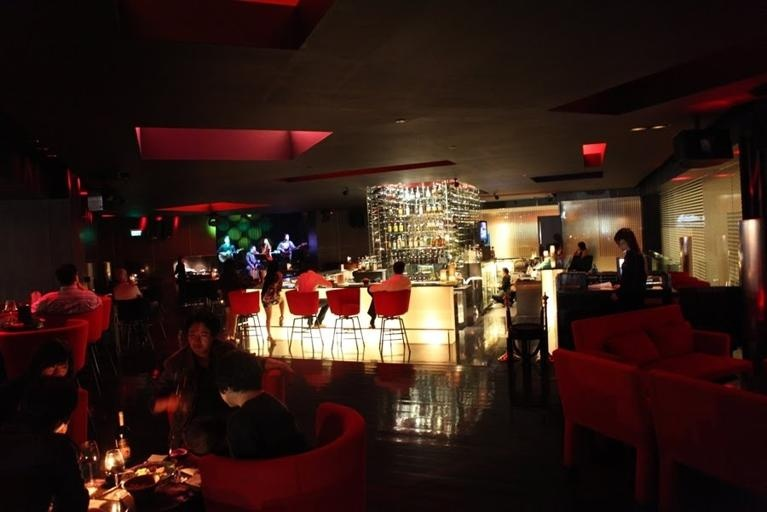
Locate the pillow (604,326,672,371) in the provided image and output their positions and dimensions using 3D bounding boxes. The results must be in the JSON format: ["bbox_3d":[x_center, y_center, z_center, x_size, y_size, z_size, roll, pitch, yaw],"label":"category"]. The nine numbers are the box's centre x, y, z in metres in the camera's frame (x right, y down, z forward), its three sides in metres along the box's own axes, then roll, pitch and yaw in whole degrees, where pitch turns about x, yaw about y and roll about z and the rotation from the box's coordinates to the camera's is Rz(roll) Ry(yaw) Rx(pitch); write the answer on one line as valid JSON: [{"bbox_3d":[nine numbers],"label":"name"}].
[{"bbox_3d":[2.880,1.088,6.325,0.707,0.408,0.189,-4,-25,-34],"label":"pillow"}]

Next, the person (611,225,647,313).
[{"bbox_3d":[3.563,0.187,7.883,0.427,1.180,0.388,0,-2,15],"label":"person"}]

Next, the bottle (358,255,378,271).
[{"bbox_3d":[-0.264,0.187,12.847,0.386,0.389,0.389,-4,6,-36],"label":"bottle"}]

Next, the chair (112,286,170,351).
[{"bbox_3d":[-4.981,1.328,11.268,0.826,1.231,0.904,-5,25,-9],"label":"chair"}]

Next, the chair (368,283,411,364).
[{"bbox_3d":[0.174,1.144,9.822,0.666,1.130,1.848,0,-2,2],"label":"chair"}]

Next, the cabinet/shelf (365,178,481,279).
[{"bbox_3d":[0.860,-0.623,12.726,2.299,2.170,1.077,0,-2,-6],"label":"cabinet/shelf"}]

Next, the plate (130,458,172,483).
[{"bbox_3d":[-1.723,1.616,4.113,0.201,0.053,0.185,1,5,10],"label":"plate"}]
